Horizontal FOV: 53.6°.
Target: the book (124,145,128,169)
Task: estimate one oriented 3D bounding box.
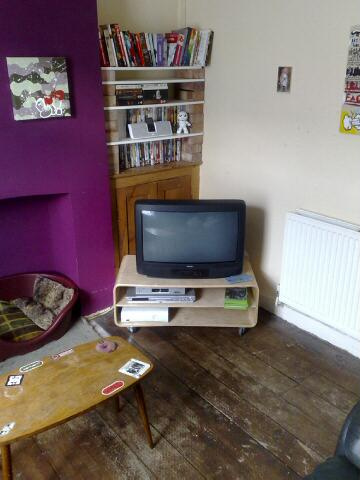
[{"bbox_3d":[-0.417,-0.646,2.763,0.024,0.174,0.065,-3,9,-8],"label":"book"}]

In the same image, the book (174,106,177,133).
[{"bbox_3d":[-0.037,-1.020,3.005,0.024,0.202,0.046,-2,9,-2],"label":"book"}]

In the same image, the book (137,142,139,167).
[{"bbox_3d":[-0.333,-0.679,2.833,0.018,0.183,0.043,-3,9,-7],"label":"book"}]

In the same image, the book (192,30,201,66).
[{"bbox_3d":[0.126,-1.507,2.765,0.016,0.225,0.173,16,42,4],"label":"book"}]

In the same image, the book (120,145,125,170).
[{"bbox_3d":[-0.443,-0.640,2.737,0.040,0.173,0.041,-5,10,-22],"label":"book"}]

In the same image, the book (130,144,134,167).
[{"bbox_3d":[-0.377,-0.666,2.800,0.026,0.169,0.059,-2,9,-1],"label":"book"}]

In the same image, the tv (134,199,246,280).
[{"bbox_3d":[0.072,-0.079,2.537,0.748,0.625,0.461,0,31,2],"label":"tv"}]

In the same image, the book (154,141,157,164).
[{"bbox_3d":[-0.203,-0.728,2.947,0.025,0.178,0.051,-2,9,-3],"label":"book"}]

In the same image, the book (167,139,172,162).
[{"bbox_3d":[-0.089,-0.764,3.028,0.041,0.175,0.065,-2,9,-2],"label":"book"}]

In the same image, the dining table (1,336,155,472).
[{"bbox_3d":[-0.474,0.665,1.474,0.558,0.337,0.406,-16,29,-38],"label":"dining table"}]

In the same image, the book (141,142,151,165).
[{"bbox_3d":[-0.278,-0.710,2.873,0.104,0.198,0.020,-28,40,-33],"label":"book"}]

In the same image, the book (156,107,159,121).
[{"bbox_3d":[-0.178,-1.016,2.862,0.020,0.098,0.043,0,9,7],"label":"book"}]

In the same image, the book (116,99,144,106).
[{"bbox_3d":[-0.368,-0.995,2.580,0.221,0.055,0.013,-10,13,-39],"label":"book"}]

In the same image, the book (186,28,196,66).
[{"bbox_3d":[0.079,-1.491,2.731,0.027,0.256,0.194,14,35,-3],"label":"book"}]

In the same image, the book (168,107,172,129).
[{"bbox_3d":[-0.083,-1.026,2.968,0.022,0.154,0.052,1,10,14],"label":"book"}]

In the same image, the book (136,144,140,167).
[{"bbox_3d":[-0.334,-0.676,2.834,0.033,0.169,0.052,-3,9,-7],"label":"book"}]

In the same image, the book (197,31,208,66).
[{"bbox_3d":[0.179,-1.486,2.765,0.033,0.213,0.139,-5,10,-20],"label":"book"}]

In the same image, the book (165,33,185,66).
[{"bbox_3d":[-0.007,-1.494,2.802,0.151,0.249,0.280,-2,28,-8],"label":"book"}]

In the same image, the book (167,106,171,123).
[{"bbox_3d":[-0.087,-1.050,2.953,0.025,0.111,0.048,4,11,31],"label":"book"}]

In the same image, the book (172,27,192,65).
[{"bbox_3d":[0.012,-1.473,2.710,0.030,0.232,0.204,1,38,-22],"label":"book"}]
